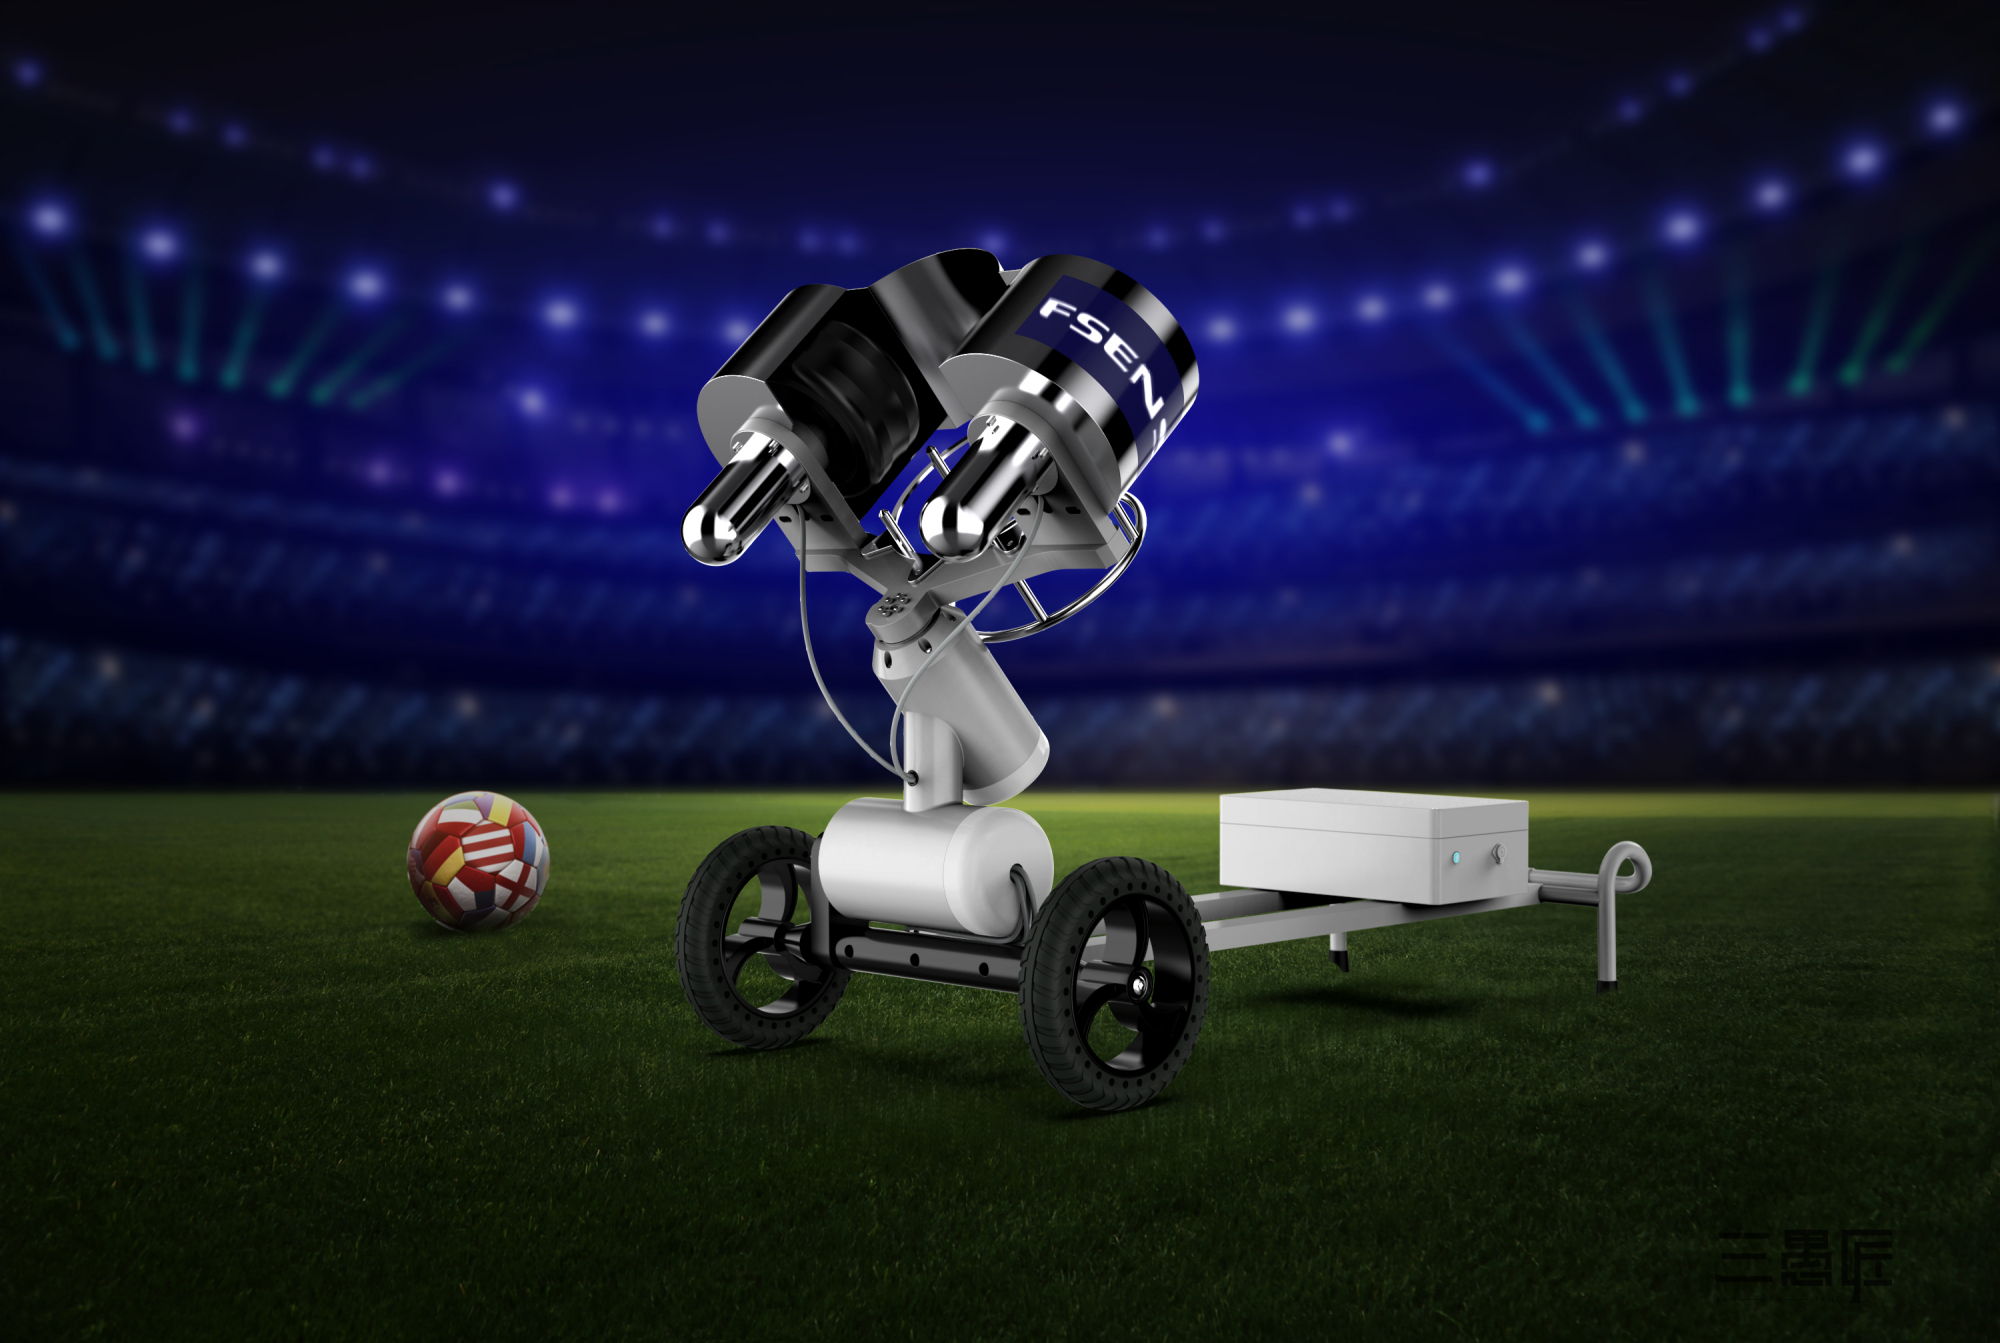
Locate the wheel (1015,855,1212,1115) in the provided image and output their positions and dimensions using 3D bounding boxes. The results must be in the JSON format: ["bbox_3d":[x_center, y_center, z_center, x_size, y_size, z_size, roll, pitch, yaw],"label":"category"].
[{"bbox_3d":[0.387,1.091,5.169,0.879,0.969,0.275,0,2,-38],"label":"wheel"}]

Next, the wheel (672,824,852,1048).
[{"bbox_3d":[-0.908,1.068,5.882,0.192,0.671,0.759,2,16,35],"label":"wheel"}]

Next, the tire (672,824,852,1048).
[{"bbox_3d":[-0.908,1.068,5.882,0.192,0.671,0.759,2,16,35],"label":"tire"}]

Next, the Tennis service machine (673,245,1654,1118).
[{"bbox_3d":[0.302,0.029,6.435,2.085,2.897,3.883,-1,-3,43],"label":"Tennis service machine"}]

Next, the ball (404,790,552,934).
[{"bbox_3d":[-2.792,0.990,8.076,0.655,0.782,0.675,-15,-10,-3],"label":"ball"}]

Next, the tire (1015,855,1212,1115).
[{"bbox_3d":[0.387,1.091,5.169,0.879,0.969,0.275,0,2,-38],"label":"tire"}]
